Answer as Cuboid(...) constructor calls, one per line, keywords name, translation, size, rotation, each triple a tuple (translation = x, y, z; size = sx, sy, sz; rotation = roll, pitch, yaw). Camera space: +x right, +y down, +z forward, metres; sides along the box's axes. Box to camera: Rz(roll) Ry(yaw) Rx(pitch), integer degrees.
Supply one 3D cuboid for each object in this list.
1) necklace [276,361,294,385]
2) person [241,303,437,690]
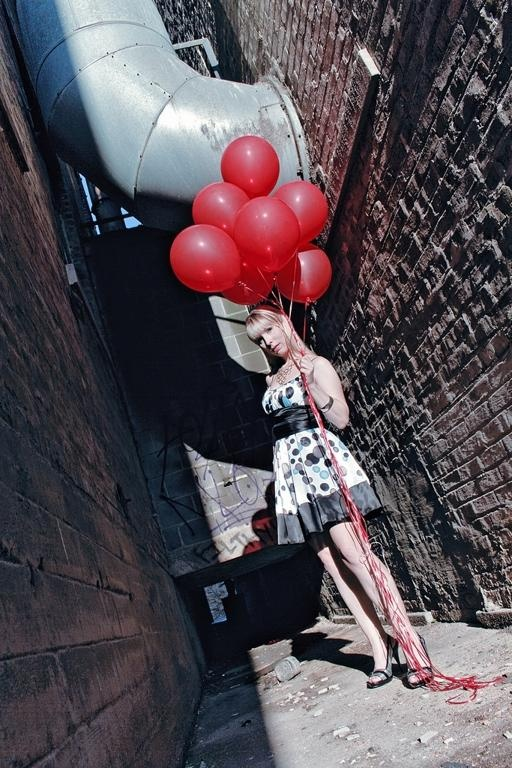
Cuboid(name="necklace", translation=(0.128, -0.039, 2.052), size=(0.026, 0.094, 0.071), rotation=(33, -8, -28))
Cuboid(name="person", translation=(0.294, 0.389, 1.859), size=(0.462, 1.451, 0.572), rotation=(-2, -15, -31))
